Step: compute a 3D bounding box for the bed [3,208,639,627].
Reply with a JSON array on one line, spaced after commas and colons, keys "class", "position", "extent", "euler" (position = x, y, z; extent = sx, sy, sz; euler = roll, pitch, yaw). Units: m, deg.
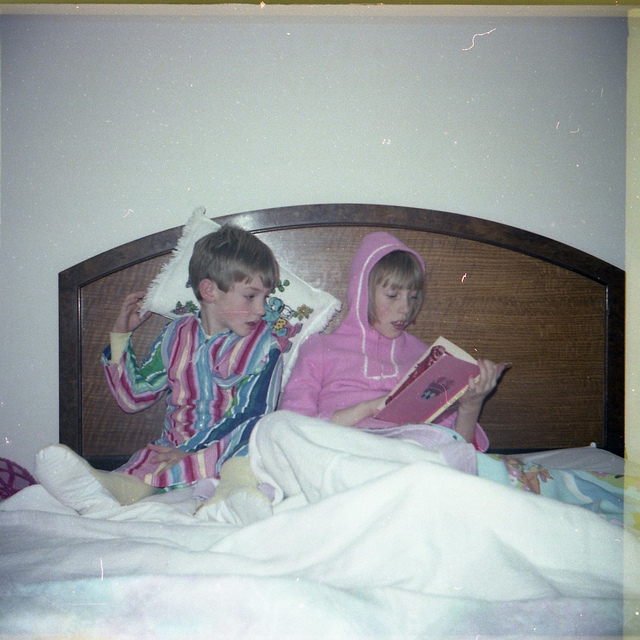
[{"class": "bed", "position": [-0.009, 0.241, 1.713], "extent": [1.182, 0.601, 1.037], "euler": [0, -3, -2]}]

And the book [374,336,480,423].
[{"class": "book", "position": [0.250, 0.148, 1.607], "extent": [0.194, 0.214, 0.108], "euler": [5, 13, -20]}]
